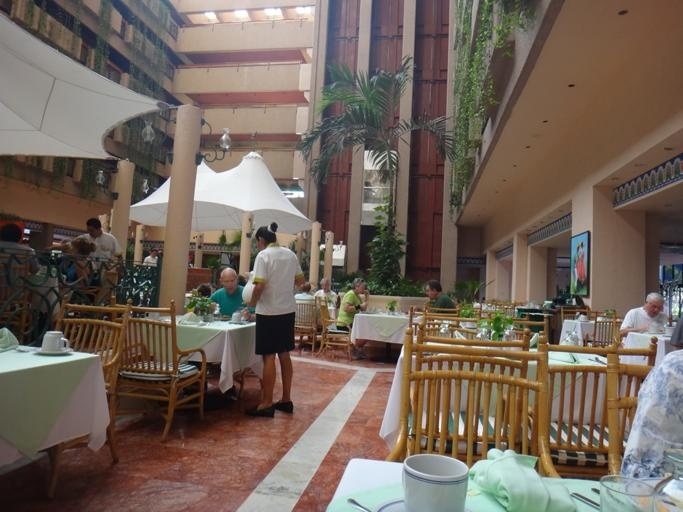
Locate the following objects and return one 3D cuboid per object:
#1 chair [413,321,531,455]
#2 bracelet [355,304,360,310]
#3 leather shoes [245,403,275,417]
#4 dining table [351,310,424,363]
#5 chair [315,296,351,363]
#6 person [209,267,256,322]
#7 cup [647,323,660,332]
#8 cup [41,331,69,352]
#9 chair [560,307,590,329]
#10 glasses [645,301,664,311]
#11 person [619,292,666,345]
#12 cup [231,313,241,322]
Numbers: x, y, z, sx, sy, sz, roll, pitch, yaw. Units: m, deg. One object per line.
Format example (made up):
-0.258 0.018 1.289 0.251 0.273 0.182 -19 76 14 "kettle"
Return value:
0.752 0.783 2.783 0.552 1.052 0.650 3 8 12 "chair"
0.307 0.905 8.538 0.094 0.095 0.088 4 4 4 "bracelet"
-0.808 1.553 4.921 0.256 0.116 0.115 3 -16 7 "leather shoes"
0.770 1.280 8.214 1.158 0.713 1.208 6 -10 -16 "dining table"
-0.132 1.333 9.150 0.844 1.463 0.840 0 -4 6 "chair"
-1.392 0.602 6.188 0.536 0.830 0.365 -3 -3 -25 "person"
4.042 0.933 6.301 0.133 0.064 0.137 3 -3 0 "cup"
-1.892 0.547 3.243 0.112 0.140 0.193 3 6 -17 "cup"
4.126 1.099 8.574 0.325 0.640 0.371 1 -13 2 "chair"
4.084 0.676 6.348 0.128 0.148 0.171 9 -11 12 "glasses"
4.118 0.864 6.670 0.517 0.921 0.500 6 -2 16 "person"
-1.154 0.689 5.407 0.085 0.092 0.090 2 -11 0 "cup"
